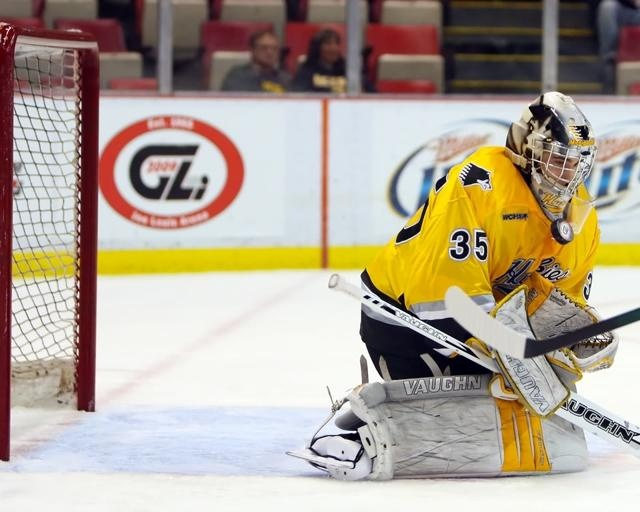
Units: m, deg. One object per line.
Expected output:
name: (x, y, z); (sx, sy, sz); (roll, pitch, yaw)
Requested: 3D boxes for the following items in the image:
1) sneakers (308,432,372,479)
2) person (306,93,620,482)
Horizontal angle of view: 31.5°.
sneakers: (0.076, 0.663, 3.835); (0.194, 0.074, 0.130); (6, 35, 15)
person: (0.523, 0.086, 3.916); (1.071, 1.267, 0.481); (0, 13, -2)
